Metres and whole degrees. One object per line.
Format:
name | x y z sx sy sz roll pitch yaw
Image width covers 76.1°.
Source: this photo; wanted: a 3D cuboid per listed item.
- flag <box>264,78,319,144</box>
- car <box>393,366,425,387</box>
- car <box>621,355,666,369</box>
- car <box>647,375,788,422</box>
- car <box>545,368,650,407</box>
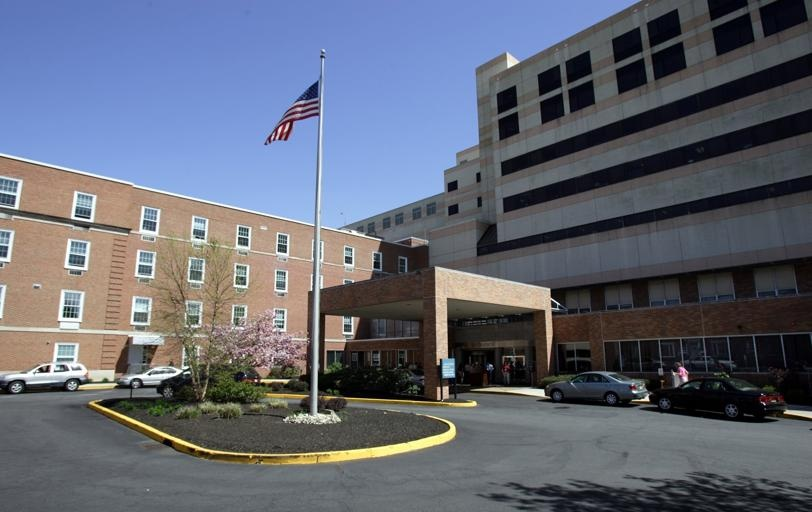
flag | -5.476 -7.126 25.857 2.608 2.945 0.897 -12 -20 37
car | 0.424 8.833 37.998 1.881 1.066 4.722 -1 -14 6
car | 17.838 8.081 38.733 2.340 0.601 1.034 -15 -15 30
car | 16.427 7.398 27.799 2.542 1.504 5.845 12 -13 -38
car | 11.755 8.004 32.239 5.819 1.529 2.350 -4 -12 32
